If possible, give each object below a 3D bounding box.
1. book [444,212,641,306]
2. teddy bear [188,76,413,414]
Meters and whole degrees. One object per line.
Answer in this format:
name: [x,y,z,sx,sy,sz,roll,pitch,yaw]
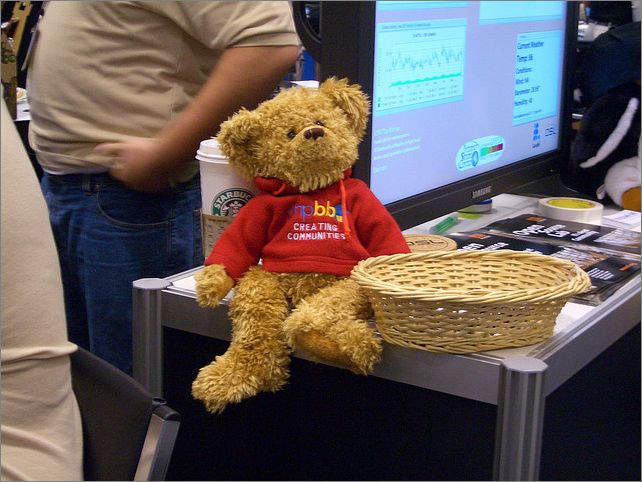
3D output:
book: [0.502,0.014,1.194,0.277,0.017,0.250,15,24,40]
teddy bear: [-0.023,0.004,0.802,0.298,0.379,0.433,-3,38,7]
